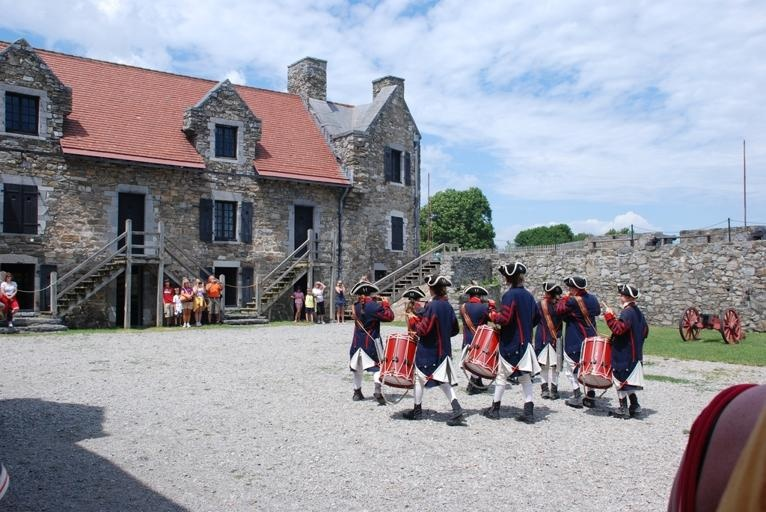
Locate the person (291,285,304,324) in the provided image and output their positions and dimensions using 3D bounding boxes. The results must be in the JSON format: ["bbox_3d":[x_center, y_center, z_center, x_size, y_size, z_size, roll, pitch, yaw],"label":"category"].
[{"bbox_3d":[-3.334,1.894,29.346,0.440,1.327,1.413,1,8,-7],"label":"person"}]

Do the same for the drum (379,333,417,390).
[{"bbox_3d":[0.302,1.970,14.280,0.737,0.706,0.754,-2,-12,39],"label":"drum"}]

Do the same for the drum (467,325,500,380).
[{"bbox_3d":[2.249,1.892,14.531,0.809,0.819,0.808,12,-3,24],"label":"drum"}]

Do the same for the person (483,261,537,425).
[{"bbox_3d":[2.534,1.644,14.332,0.983,2.940,1.186,3,9,11],"label":"person"}]

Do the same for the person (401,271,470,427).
[{"bbox_3d":[1.020,1.772,14.094,1.216,2.686,0.899,5,9,20],"label":"person"}]

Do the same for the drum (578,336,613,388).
[{"bbox_3d":[4.313,2.097,14.717,0.900,0.794,0.838,7,-8,6],"label":"drum"}]

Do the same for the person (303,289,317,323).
[{"bbox_3d":[-2.752,1.902,28.276,0.365,1.321,0.818,1,8,-5],"label":"person"}]

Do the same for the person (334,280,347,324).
[{"bbox_3d":[-1.701,1.808,28.906,0.333,1.500,1.218,1,8,-8],"label":"person"}]
